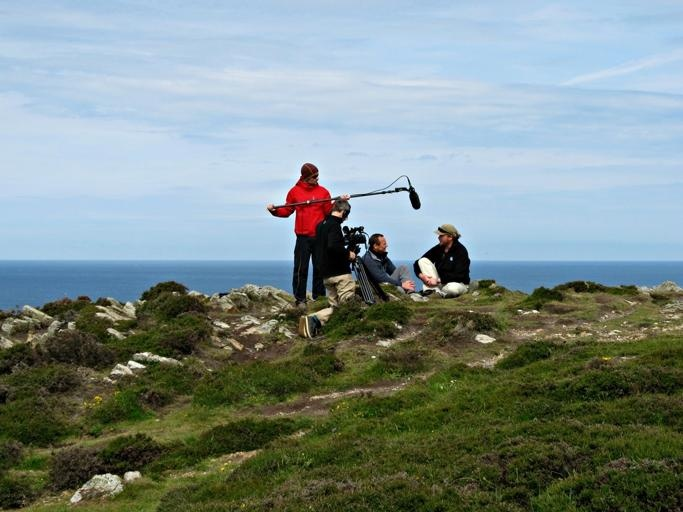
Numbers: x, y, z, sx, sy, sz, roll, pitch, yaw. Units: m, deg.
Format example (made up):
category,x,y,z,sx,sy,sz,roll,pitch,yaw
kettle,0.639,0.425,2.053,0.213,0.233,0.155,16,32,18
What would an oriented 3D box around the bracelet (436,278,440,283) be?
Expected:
category,x,y,z,sx,sy,sz,roll,pitch,yaw
bracelet,3.387,0.838,30.956,0.171,0.160,0.052,-2,-21,7
